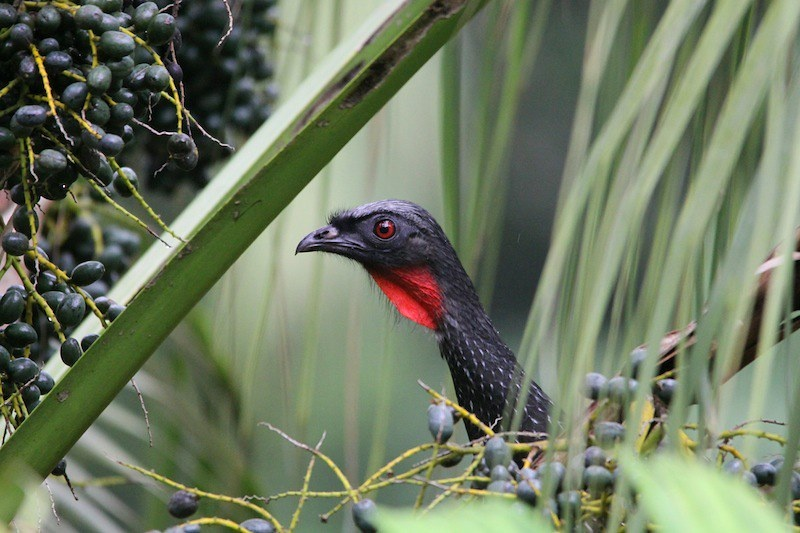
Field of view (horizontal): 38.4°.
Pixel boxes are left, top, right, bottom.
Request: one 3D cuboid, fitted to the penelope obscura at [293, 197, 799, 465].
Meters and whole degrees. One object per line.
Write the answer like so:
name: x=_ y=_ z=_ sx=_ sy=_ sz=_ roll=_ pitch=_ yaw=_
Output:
penelope obscura: x=0.348 y=0.095 z=2.986 sx=1.158 sy=0.966 sz=0.452 roll=-10 pitch=-18 yaw=10
